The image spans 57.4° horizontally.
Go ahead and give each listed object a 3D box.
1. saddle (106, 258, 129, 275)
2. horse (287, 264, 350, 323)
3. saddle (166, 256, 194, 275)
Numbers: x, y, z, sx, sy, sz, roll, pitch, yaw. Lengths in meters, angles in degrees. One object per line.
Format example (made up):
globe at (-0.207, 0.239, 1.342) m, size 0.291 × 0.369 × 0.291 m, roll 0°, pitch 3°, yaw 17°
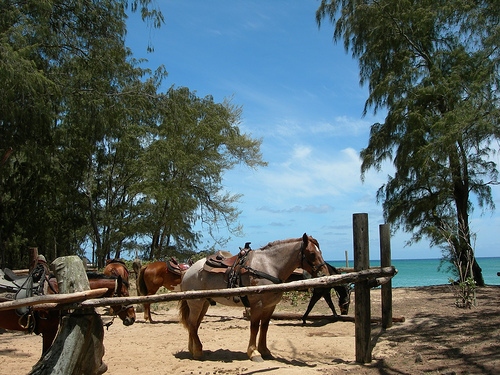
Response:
saddle at (-4.236, 2.509, 14.548) m, size 0.274 × 0.660 × 1.091 m, roll 0°, pitch -7°, yaw -4°
horse at (2.573, 3.652, 15.244) m, size 0.565 × 1.290 × 2.026 m, roll 25°, pitch -18°, yaw -30°
saddle at (-2.491, 2.733, 15.947) m, size 1.067 × 0.765 × 0.431 m, roll 0°, pitch 2°, yaw -7°
